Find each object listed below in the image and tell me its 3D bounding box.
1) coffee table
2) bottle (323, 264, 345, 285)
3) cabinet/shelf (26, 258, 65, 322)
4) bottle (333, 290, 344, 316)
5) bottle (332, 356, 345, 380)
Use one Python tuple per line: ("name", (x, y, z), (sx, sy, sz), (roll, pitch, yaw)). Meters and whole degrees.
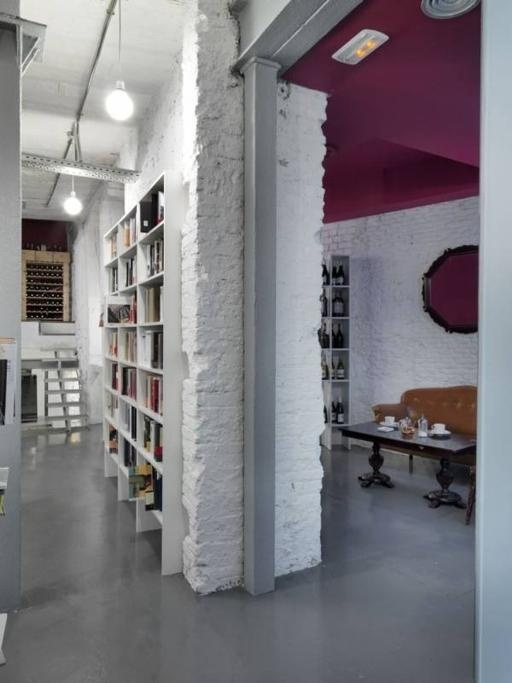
("coffee table", (0.494, 0.408, 1.696), (0.148, 0.199, 0.467), (-1, 1, -37))
("bottle", (0.322, -0.266, 2.121), (0.090, 0.106, 0.099), (-1, 3, -2))
("cabinet/shelf", (-3.639, -0.789, 8.982), (0.624, 1.258, 0.405), (1, -32, -25))
("bottle", (0.331, -0.149, 2.086), (0.021, 0.102, 0.119), (-2, 1, -9))
("bottle", (0.344, 0.115, 2.173), (0.013, 0.096, 0.120), (-2, 1, -10))
